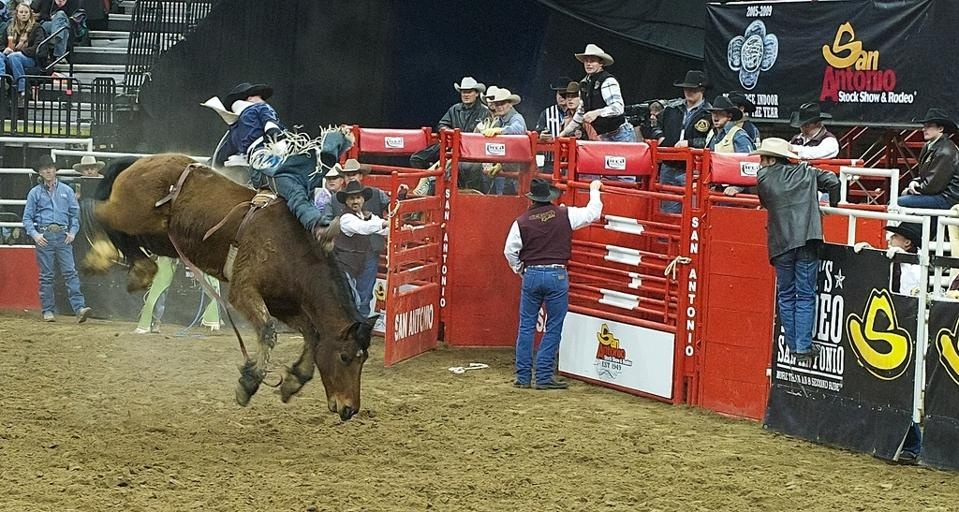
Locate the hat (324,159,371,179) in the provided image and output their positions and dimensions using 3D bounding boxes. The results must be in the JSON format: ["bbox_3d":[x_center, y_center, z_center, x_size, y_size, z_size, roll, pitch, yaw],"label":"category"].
[{"bbox_3d":[-2.245,-1.455,17.294,0.557,0.215,0.574,-1,-1,0],"label":"hat"}]

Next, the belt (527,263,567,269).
[{"bbox_3d":[1.068,0.156,16.529,0.613,0.083,0.153,1,6,-9],"label":"belt"}]

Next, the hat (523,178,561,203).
[{"bbox_3d":[1.023,-1.039,16.487,0.508,0.366,0.282,2,5,3],"label":"hat"}]

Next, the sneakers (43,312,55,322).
[{"bbox_3d":[-8.237,1.137,19.727,0.220,0.174,0.276,0,6,-26],"label":"sneakers"}]

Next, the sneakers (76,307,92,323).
[{"bbox_3d":[-7.560,1.078,19.674,0.190,0.392,0.167,38,24,12],"label":"sneakers"}]

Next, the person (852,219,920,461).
[{"bbox_3d":[6.162,1.202,15.031,0.880,3.366,0.921,6,6,32],"label":"person"}]

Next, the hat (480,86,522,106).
[{"bbox_3d":[0.377,-3.087,19.966,0.734,0.278,0.789,-3,-15,8],"label":"hat"}]

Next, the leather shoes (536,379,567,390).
[{"bbox_3d":[1.173,2.093,16.831,0.518,0.176,0.181,-6,2,-5],"label":"leather shoes"}]

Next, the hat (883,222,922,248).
[{"bbox_3d":[6.228,-0.324,15.091,0.412,0.162,0.466,21,1,-28],"label":"hat"}]

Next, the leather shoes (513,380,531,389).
[{"bbox_3d":[0.686,2.080,16.800,0.192,0.077,0.141,2,0,14],"label":"leather shoes"}]

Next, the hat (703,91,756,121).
[{"bbox_3d":[4.253,-2.542,17.487,0.652,0.461,1.053,4,6,18],"label":"hat"}]

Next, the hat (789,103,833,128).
[{"bbox_3d":[5.571,-2.287,17.159,0.643,0.257,0.519,-27,33,-29],"label":"hat"}]

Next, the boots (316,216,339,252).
[{"bbox_3d":[-2.133,-0.259,14.726,0.224,0.349,0.486,19,-21,-25],"label":"boots"}]

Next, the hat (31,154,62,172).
[{"bbox_3d":[-8.292,-1.762,19.756,0.376,0.153,0.406,-2,0,-7],"label":"hat"}]

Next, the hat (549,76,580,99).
[{"bbox_3d":[1.594,-3.100,18.895,0.566,0.216,0.619,-2,3,6],"label":"hat"}]

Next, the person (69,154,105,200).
[{"bbox_3d":[-7.391,-1.491,19.422,0.824,0.856,0.329,-2,48,-18],"label":"person"}]

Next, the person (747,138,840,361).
[{"bbox_3d":[4.627,-0.077,15.233,1.131,3.268,0.458,4,5,15],"label":"person"}]

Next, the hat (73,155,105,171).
[{"bbox_3d":[-7.503,-1.776,19.787,0.399,0.146,0.422,-5,-17,-16],"label":"hat"}]

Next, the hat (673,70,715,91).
[{"bbox_3d":[3.888,-3.047,18.268,0.702,0.360,0.967,11,9,34],"label":"hat"}]
